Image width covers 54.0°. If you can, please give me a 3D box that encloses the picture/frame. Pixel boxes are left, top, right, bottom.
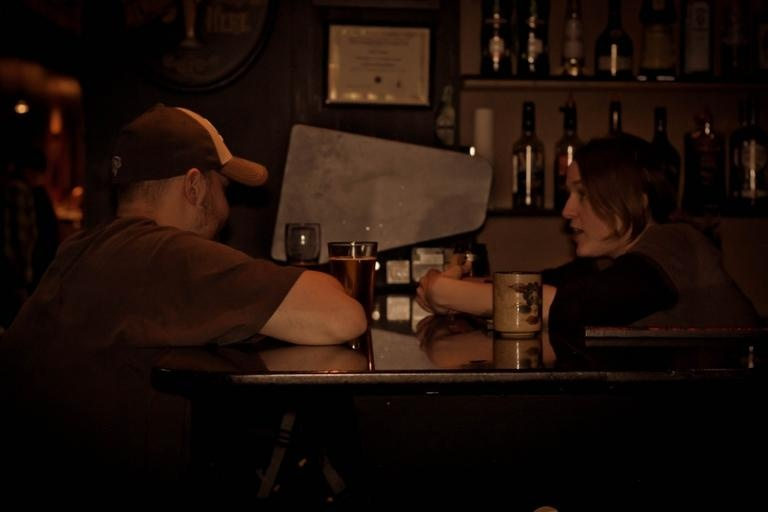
[{"bbox_3d":[-0.044,-0.846,3.280,0.401,0.284,0.052,1,4,-3],"label":"picture/frame"}]

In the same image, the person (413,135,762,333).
[{"bbox_3d":[0.675,-0.027,2.578,0.898,0.525,0.691,3,-6,4],"label":"person"}]

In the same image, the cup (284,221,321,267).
[{"bbox_3d":[-0.310,-0.049,3.012,0.158,0.203,0.159,0,0,0],"label":"cup"}]

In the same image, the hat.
[{"bbox_3d":[-0.643,-0.353,2.440,0.425,0.218,0.251,-2,8,-26],"label":"hat"}]
